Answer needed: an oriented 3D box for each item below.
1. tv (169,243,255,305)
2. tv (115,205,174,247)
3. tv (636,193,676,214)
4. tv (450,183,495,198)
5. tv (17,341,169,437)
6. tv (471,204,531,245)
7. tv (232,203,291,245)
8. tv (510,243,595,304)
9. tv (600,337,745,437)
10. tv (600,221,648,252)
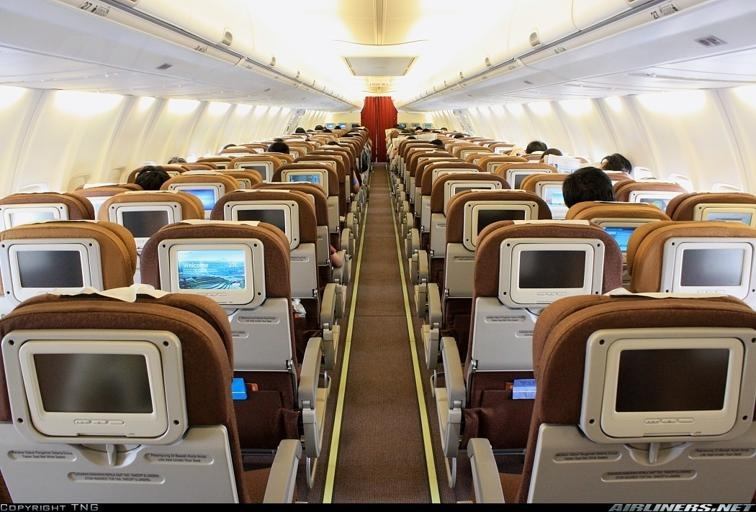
[{"bbox_3d":[-1.037,0.116,3.513,0.073,0.409,0.709,-6,-4,34],"label":"tv"},{"bbox_3d":[-2.143,-0.247,5.078,0.517,0.344,0.104,0,17,0],"label":"tv"},{"bbox_3d":[2.490,-0.473,5.146,0.341,0.236,0.148,0,28,13],"label":"tv"},{"bbox_3d":[0.878,-0.620,5.491,0.428,0.217,0.037,-1,4,-10],"label":"tv"},{"bbox_3d":[-1.226,0.581,2.512,0.820,0.479,0.073,-4,4,14],"label":"tv"},{"bbox_3d":[0.861,-0.223,4.116,0.476,0.289,0.044,-2,11,-11],"label":"tv"},{"bbox_3d":[-0.939,-0.240,4.664,0.588,0.381,0.066,-5,-7,-38],"label":"tv"},{"bbox_3d":[1.074,0.112,3.600,0.735,0.421,0.066,1,2,-23],"label":"tv"},{"bbox_3d":[1.283,0.577,2.524,0.827,0.477,0.069,4,-1,-15],"label":"tv"},{"bbox_3d":[1.904,-0.185,4.410,0.385,0.269,0.078,0,23,0],"label":"tv"}]
